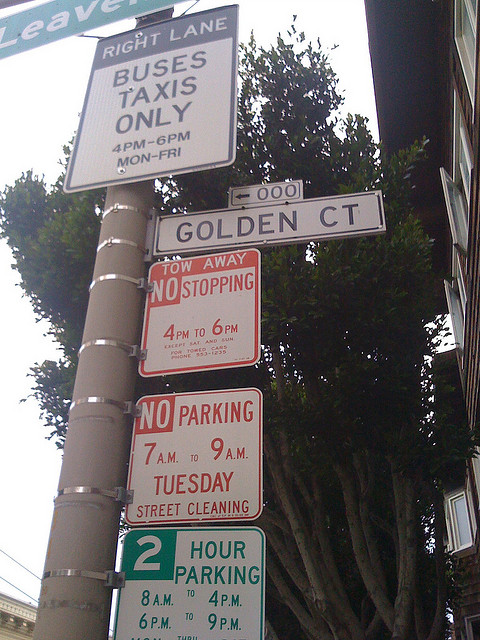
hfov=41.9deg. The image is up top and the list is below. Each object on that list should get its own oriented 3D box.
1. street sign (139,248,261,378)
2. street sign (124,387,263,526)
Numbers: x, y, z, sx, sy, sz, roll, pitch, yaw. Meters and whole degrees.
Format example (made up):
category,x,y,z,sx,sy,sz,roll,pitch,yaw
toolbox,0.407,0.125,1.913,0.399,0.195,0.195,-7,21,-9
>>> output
category,x,y,z,sx,sy,sz,roll,pitch,yaw
street sign,-0.152,-0.054,2.601,0.484,0.708,0.007,-7,-43,7
street sign,-0.158,0.496,2.257,0.484,0.009,0.643,-1,-61,-13
